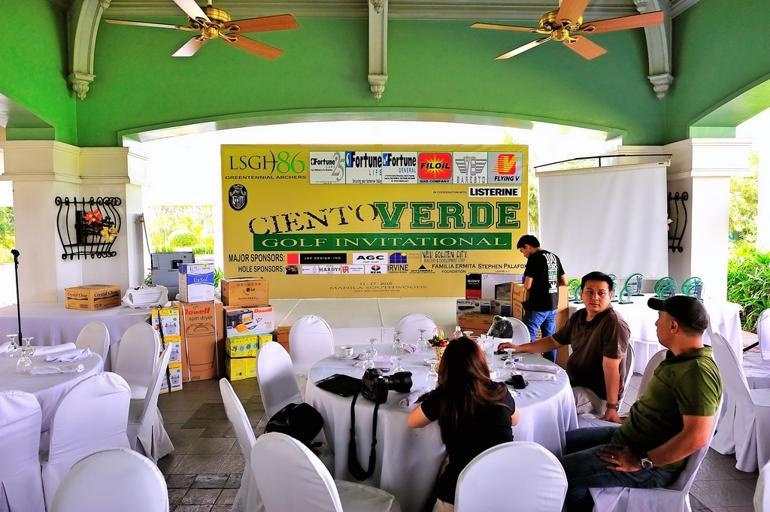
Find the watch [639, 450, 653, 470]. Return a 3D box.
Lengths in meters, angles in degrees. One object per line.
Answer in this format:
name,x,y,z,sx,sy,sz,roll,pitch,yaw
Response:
watch,1.812,1.434,3.656,0.077,0.118,0.108,-4,43,-5

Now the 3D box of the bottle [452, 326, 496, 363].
bottle,0.780,0.782,4.700,0.373,0.230,0.364,0,1,0

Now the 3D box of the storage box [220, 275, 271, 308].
storage box,-1.828,0.461,6.884,0.429,0.250,0.427,0,7,-10

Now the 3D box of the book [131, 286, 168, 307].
book,-2.978,0.516,6.591,0.344,0.179,0.253,1,-1,-12

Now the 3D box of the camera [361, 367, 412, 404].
camera,0.038,0.980,4.048,0.347,0.196,0.315,-2,-5,-14

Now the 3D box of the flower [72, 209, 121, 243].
flower,-4.189,-0.427,7.593,0.574,0.535,0.313,0,2,-22

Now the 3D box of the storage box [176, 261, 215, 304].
storage box,-2.407,0.349,6.693,0.305,0.420,0.405,2,2,45

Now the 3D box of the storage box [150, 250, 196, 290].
storage box,-3.057,0.235,7.441,0.356,0.584,0.636,4,6,40

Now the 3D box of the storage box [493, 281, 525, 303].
storage box,1.646,0.500,7.044,0.270,0.172,0.270,0,-2,-34

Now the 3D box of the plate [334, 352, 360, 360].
plate,-0.341,0.907,4.731,0.227,0.057,0.147,0,1,-5
